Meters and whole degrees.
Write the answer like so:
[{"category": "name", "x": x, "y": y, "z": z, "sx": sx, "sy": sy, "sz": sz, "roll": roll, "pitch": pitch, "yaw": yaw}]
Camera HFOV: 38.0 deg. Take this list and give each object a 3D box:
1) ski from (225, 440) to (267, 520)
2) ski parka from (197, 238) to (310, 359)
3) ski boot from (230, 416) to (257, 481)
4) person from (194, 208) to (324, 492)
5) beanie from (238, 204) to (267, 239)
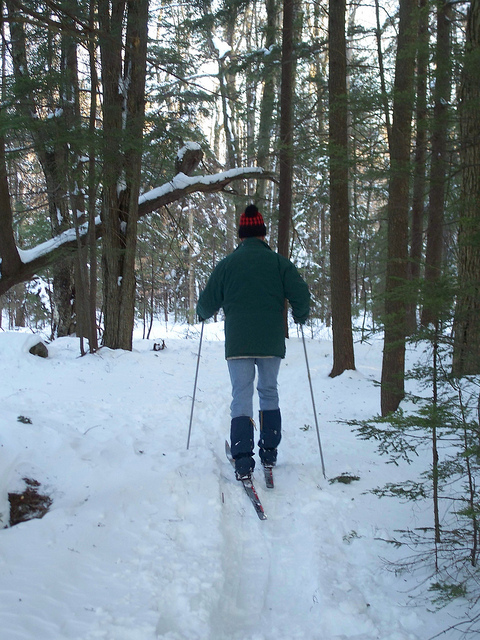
[{"category": "ski", "x": 0.034, "y": 1.284, "z": 5.707, "sx": 0.132, "sy": 0.097, "sz": 0.989, "roll": -12, "pitch": 18, "yaw": -12}, {"category": "ski parka", "x": 0.114, "y": -0.147, "z": 5.928, "sx": 0.933, "sy": 0.903, "sz": 0.560, "roll": -1, "pitch": 6, "yaw": -4}, {"category": "ski boot", "x": 0.029, "y": 1.048, "z": 5.711, "sx": 0.165, "sy": 0.517, "sz": 0.192, "roll": -8, "pitch": -12, "yaw": 24}, {"category": "person", "x": 0.175, "y": 0.210, "z": 6.006, "sx": 0.806, "sy": 2.285, "sz": 0.852, "roll": -4, "pitch": 7, "yaw": -27}, {"category": "beanie", "x": 0.111, "y": -0.846, "z": 6.053, "sx": 0.210, "sy": 0.275, "sz": 0.286, "roll": -1, "pitch": 12, "yaw": 2}]
